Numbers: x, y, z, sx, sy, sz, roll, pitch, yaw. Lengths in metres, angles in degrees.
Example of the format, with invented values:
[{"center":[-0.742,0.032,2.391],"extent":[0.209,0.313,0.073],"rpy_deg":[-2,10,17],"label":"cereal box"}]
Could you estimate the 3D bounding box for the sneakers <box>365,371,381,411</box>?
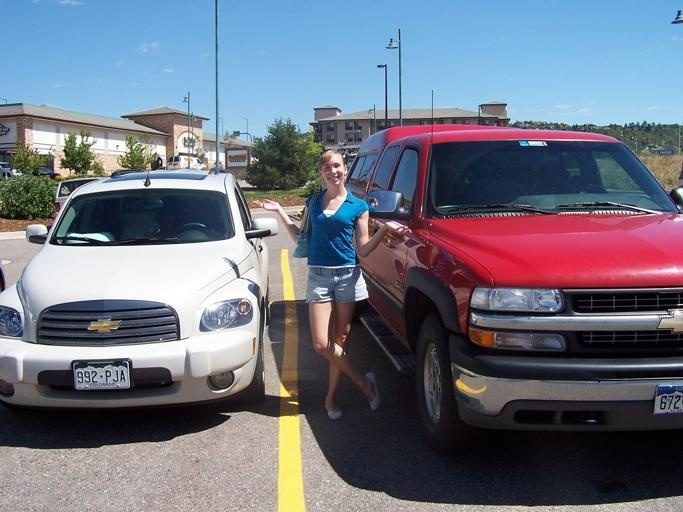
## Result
[{"center":[0.273,1.161,4.460],"extent":[0.079,0.327,0.114],"rpy_deg":[-9,-8,-42],"label":"sneakers"}]
